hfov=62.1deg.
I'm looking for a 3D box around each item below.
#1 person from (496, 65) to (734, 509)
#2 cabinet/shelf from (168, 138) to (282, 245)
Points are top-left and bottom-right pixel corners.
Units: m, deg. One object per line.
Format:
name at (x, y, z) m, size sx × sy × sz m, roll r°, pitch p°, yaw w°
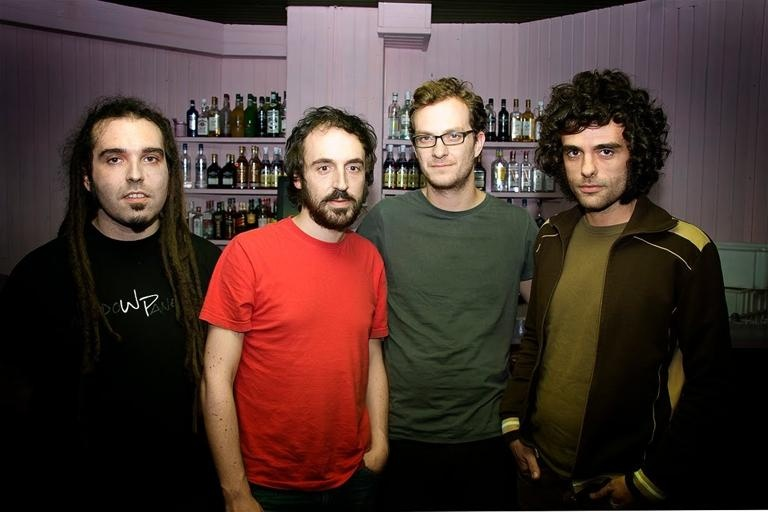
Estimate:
person at (1.086, 0.163, 2.999) m, size 0.972 × 2.028 × 0.678 m, roll 2°, pitch 13°, yaw 27°
cabinet/shelf at (-1.208, -0.512, 4.930) m, size 0.936 × 0.849 × 0.272 m, roll 1°, pitch 1°, yaw -6°
